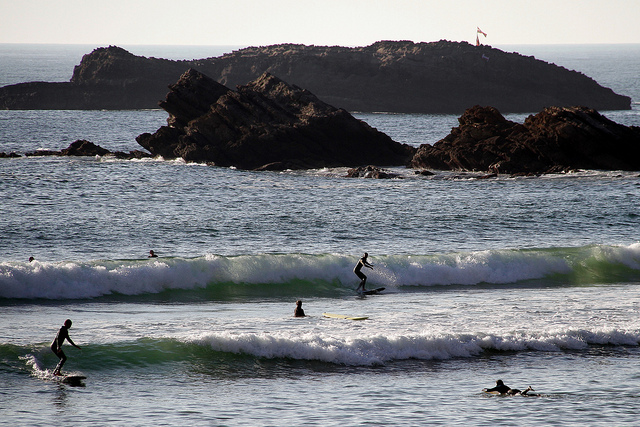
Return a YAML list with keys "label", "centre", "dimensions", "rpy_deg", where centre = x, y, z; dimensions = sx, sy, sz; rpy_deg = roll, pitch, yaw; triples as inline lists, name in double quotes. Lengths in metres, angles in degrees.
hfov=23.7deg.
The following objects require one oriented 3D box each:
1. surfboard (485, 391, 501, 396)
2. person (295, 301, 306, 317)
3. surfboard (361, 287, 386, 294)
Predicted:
- label: "surfboard"
  centre: [15.216, 15.781, 132.945]
  dimensions: [0.981, 0.336, 0.246]
  rpy_deg: [2, 8, 7]
- label: "person"
  centre: [-1.827, 8.845, 139.397]
  dimensions: [0.971, 1.417, 0.577]
  rpy_deg: [1, 9, -3]
- label: "surfboard"
  centre: [5.026, 7.453, 144.364]
  dimensions: [2.236, 0.304, 0.216]
  rpy_deg: [-12, 2, 20]
